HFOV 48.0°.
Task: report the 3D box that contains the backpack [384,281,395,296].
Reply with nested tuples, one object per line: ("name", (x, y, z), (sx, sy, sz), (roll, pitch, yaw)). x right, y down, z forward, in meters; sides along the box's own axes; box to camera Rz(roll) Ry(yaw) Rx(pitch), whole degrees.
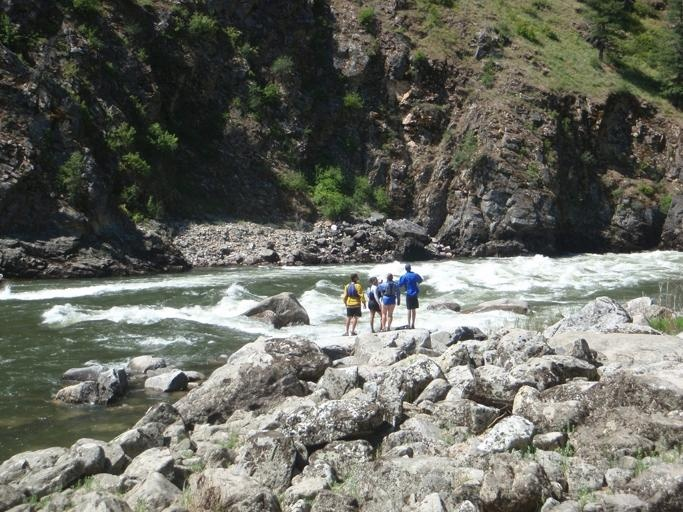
("backpack", (1.828, 1.305, 29.595), (0.473, 0.499, 0.272), (3, -8, -9))

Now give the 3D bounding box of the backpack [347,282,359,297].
("backpack", (0.432, 1.331, 29.442), (0.465, 0.460, 0.260), (5, 14, 34))

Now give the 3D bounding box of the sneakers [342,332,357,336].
("sneakers", (0.341, 3.012, 29.318), (0.472, 0.213, 0.179), (6, -10, -15))
